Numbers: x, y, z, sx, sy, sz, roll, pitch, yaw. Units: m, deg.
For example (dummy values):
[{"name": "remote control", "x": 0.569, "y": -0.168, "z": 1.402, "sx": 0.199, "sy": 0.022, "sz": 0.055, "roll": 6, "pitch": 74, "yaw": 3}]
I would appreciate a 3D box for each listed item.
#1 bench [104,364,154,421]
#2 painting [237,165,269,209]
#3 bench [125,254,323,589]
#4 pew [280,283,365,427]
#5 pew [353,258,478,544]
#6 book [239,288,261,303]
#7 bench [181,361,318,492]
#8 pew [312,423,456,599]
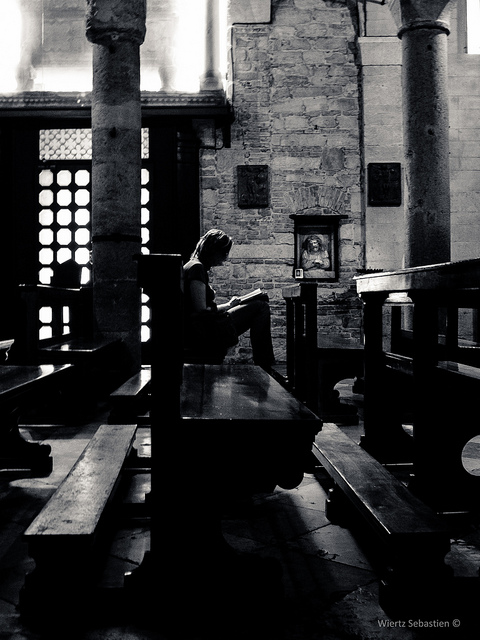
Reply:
[{"name": "bench", "x": -0.597, "y": 0.458, "z": 4.893, "sx": 0.204, "sy": 0.346, "sz": 0.688, "roll": -1, "pitch": 14, "yaw": -4}, {"name": "painting", "x": 0.163, "y": -1.652, "z": 10.868, "sx": 0.372, "sy": 0.082, "sz": 0.675, "roll": -1, "pitch": -40, "yaw": 1}, {"name": "bench", "x": -0.095, "y": 0.003, "z": 4.157, "sx": 0.681, "sy": 1.844, "sz": 2.391, "roll": 0, "pitch": 1, "yaw": -2}, {"name": "pew", "x": 0.612, "y": 0.172, "z": 6.654, "sx": 0.352, "sy": 1.004, "sz": 1.240, "roll": -1, "pitch": 4, "yaw": -3}, {"name": "pew", "x": 0.854, "y": 0.414, "z": 4.361, "sx": 0.363, "sy": 1.244, "sz": 1.161, "roll": 0, "pitch": 1, "yaw": 2}, {"name": "book", "x": 0.080, "y": -0.205, "z": 7.391, "sx": 0.186, "sy": 0.074, "sz": 0.087, "roll": -30, "pitch": -26, "yaw": 9}, {"name": "bench", "x": 0.007, "y": 0.432, "z": 3.929, "sx": 0.521, "sy": 0.378, "sz": 1.060, "roll": -1, "pitch": 15, "yaw": -4}, {"name": "pew", "x": 0.493, "y": 0.782, "z": 3.926, "sx": 0.261, "sy": 0.362, "sz": 1.386, "roll": 0, "pitch": 11, "yaw": -13}]
